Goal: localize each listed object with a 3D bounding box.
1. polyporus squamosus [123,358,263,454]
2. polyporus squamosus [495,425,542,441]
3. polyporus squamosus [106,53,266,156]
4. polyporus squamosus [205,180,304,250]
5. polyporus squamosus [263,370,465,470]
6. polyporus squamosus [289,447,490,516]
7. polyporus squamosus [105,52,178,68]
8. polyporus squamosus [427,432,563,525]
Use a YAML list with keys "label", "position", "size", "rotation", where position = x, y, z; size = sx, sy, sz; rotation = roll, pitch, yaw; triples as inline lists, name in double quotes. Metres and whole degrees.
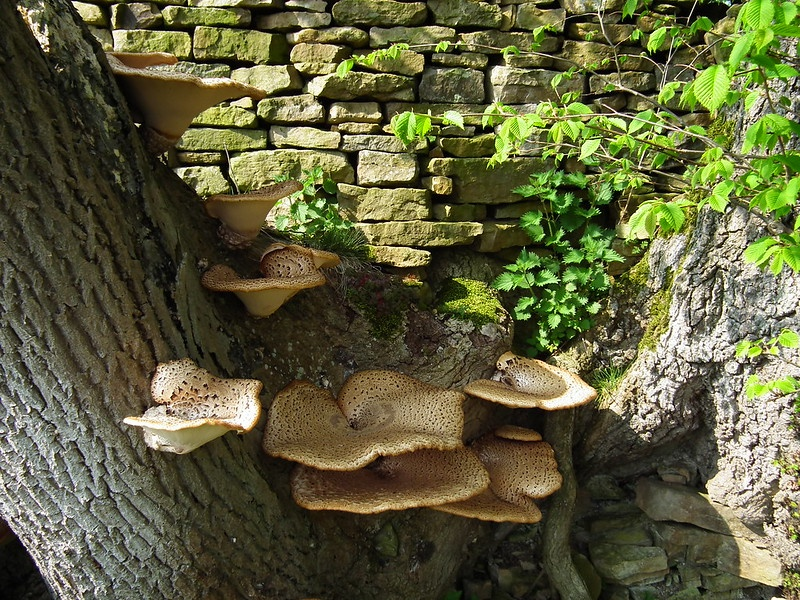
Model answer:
- label: "polyporus squamosus"
  position: [-0.986, 0.540, 3.542]
  size: [0.636, 0.254, 0.622]
  rotation: [19, 22, 39]
- label: "polyporus squamosus"
  position: [0.765, 0.845, 4.710]
  size: [0.151, 0.031, 0.138]
  rotation: [11, 1, -12]
- label: "polyporus squamosus"
  position: [-1.194, -0.983, 4.083]
  size: [0.693, 0.334, 0.698]
  rotation: [2, 14, -33]
- label: "polyporus squamosus"
  position: [-0.834, -0.495, 4.252]
  size: [0.484, 0.241, 0.438]
  rotation: [-4, 9, -22]
- label: "polyporus squamosus"
  position: [-0.257, 0.688, 4.174]
  size: [0.757, 0.158, 0.652]
  rotation: [-9, 23, -28]
- label: "polyporus squamosus"
  position: [0.027, 1.030, 4.066]
  size: [1.104, 0.902, 0.215]
  rotation: [2, 60, -6]
- label: "polyporus squamosus"
  position: [-1.442, -1.351, 4.154]
  size: [0.251, 0.060, 0.242]
  rotation: [15, 18, 26]
- label: "polyporus squamosus"
  position: [0.613, 1.069, 4.575]
  size: [0.717, 0.228, 0.663]
  rotation: [2, 16, 11]
